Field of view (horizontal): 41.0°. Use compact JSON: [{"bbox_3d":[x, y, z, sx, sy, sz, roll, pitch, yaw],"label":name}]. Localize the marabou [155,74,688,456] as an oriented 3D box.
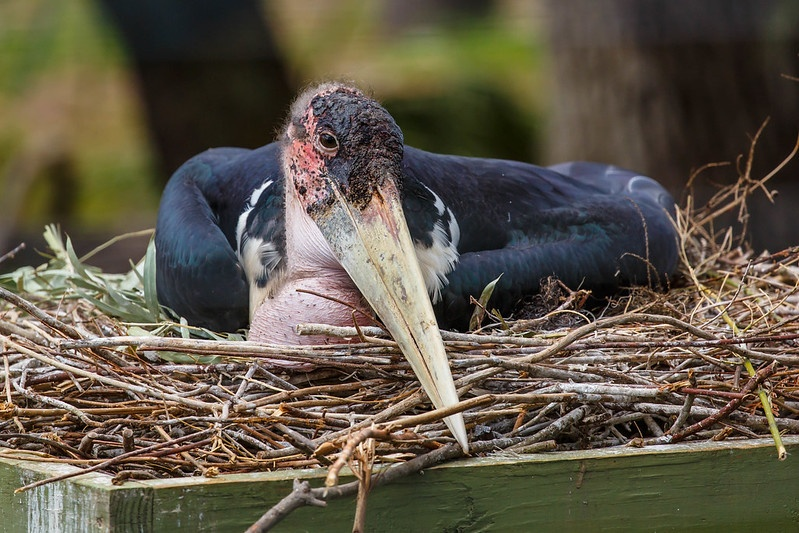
[{"bbox_3d":[-0.043,-0.094,3.474,1.806,0.787,2.040,-1,16,-12],"label":"marabou"}]
